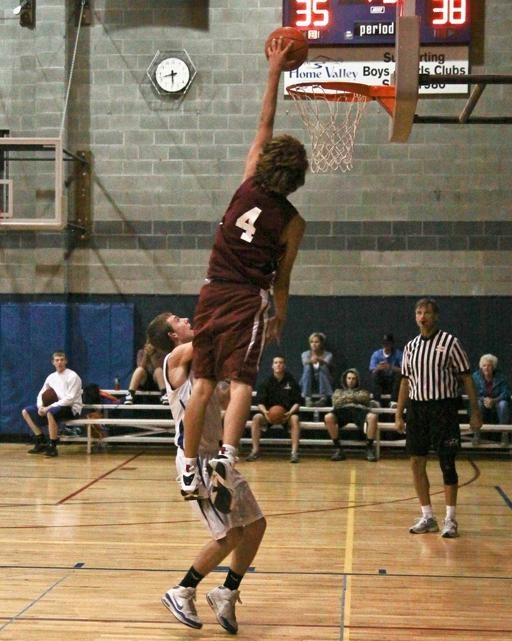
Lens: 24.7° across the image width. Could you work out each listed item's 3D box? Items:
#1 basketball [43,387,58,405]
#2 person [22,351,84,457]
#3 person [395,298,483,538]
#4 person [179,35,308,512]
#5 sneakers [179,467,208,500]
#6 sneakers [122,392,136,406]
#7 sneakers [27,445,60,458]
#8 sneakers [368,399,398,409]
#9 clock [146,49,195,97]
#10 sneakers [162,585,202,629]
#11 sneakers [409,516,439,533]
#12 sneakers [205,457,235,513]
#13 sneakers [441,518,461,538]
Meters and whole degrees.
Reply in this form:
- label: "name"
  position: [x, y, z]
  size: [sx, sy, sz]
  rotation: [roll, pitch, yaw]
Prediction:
- label: "basketball"
  position: [-2.448, 0.878, 13.604]
  size: [0.166, 0.181, 0.159]
  rotation: [-22, 37, -15]
- label: "person"
  position: [-2.417, 0.960, 13.719]
  size: [0.659, 1.179, 0.589]
  rotation: [7, 9, 43]
- label: "person"
  position: [1.563, 0.817, 9.815]
  size: [0.666, 1.972, 0.351]
  rotation: [2, 6, 10]
- label: "person"
  position: [-0.094, -0.293, 7.736]
  size: [0.685, 3.023, 1.061]
  rotation: [7, 9, 43]
- label: "sneakers"
  position: [-0.415, 1.087, 7.699]
  size: [0.121, 0.136, 0.314]
  rotation: [0, -5, 4]
- label: "sneakers"
  position: [-1.535, 0.932, 13.911]
  size: [0.179, 0.204, 0.506]
  rotation: [1, -1, -5]
- label: "sneakers"
  position: [-2.535, 1.520, 13.591]
  size: [0.426, 0.159, 0.136]
  rotation: [4, -7, 7]
- label: "sneakers"
  position: [1.517, 0.975, 13.601]
  size: [0.364, 0.139, 0.107]
  rotation: [-2, -4, 15]
- label: "clock"
  position: [-1.065, -3.082, 14.638]
  size: [0.629, 0.497, 0.094]
  rotation: [-5, 14, -25]
- label: "sneakers"
  position: [-0.501, 1.955, 7.953]
  size: [0.299, 0.300, 0.167]
  rotation: [5, 8, 37]
- label: "sneakers"
  position: [1.454, 1.750, 9.966]
  size: [0.276, 0.111, 0.115]
  rotation: [1, -8, -16]
- label: "sneakers"
  position: [-0.197, 1.022, 7.394]
  size: [0.141, 0.370, 0.178]
  rotation: [-6, 12, 5]
- label: "sneakers"
  position: [1.663, 1.751, 9.823]
  size: [0.122, 0.107, 0.269]
  rotation: [-2, -10, 9]
